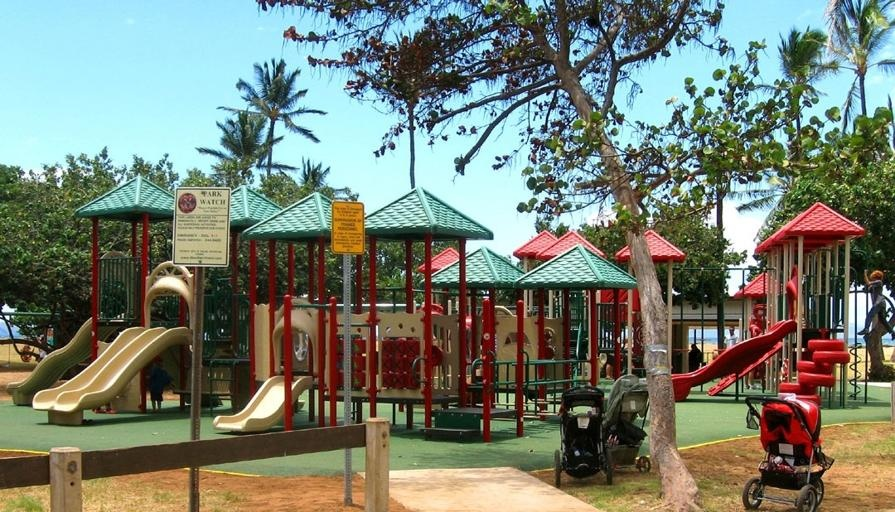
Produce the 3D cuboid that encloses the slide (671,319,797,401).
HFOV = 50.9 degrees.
[{"bbox_3d":[8.745,3.171,28.669,3.528,2.351,1.330,-3,-8,19],"label":"slide"}]
